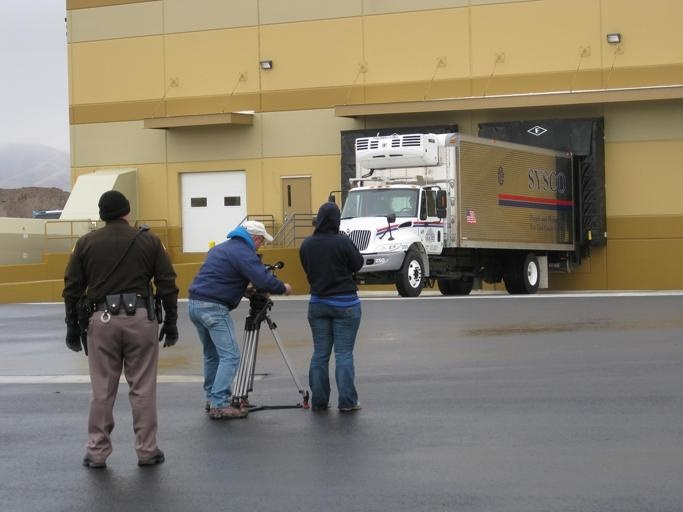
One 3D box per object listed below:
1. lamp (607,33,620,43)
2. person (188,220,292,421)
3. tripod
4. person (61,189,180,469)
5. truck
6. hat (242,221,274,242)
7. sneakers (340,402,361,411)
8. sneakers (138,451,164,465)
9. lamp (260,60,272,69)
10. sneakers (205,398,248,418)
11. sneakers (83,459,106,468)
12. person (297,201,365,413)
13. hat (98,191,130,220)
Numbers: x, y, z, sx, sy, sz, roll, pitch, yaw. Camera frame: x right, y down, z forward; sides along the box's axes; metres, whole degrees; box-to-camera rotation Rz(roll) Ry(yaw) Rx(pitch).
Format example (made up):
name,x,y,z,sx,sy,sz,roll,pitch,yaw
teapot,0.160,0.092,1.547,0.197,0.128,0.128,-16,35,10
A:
name,x,y,z,sx,sy,sz,roll,pitch,yaw
lamp,8.530,-6.895,36.872,0.334,0.261,0.292,1,-2,5
person,-1.435,0.805,15.592,1.138,2.551,0.714,0,3,-4
tripod,-1.083,1.432,16.030,1.084,1.696,1.087,0,0,-40
person,-2.534,0.819,13.589,1.284,3.168,0.565,0,3,-15
truck,2.972,-0.983,32.695,7.644,4.118,3.417,2,-1,-44
hat,-1.100,-0.315,15.820,0.427,0.240,0.279,17,17,-18
sneakers,0.150,1.979,15.532,0.326,0.104,0.196,-1,4,-24
sneakers,-2.152,2.309,13.589,0.324,0.178,0.130,-7,6,-26
lamp,-2.597,-6.721,40.771,0.475,0.322,0.329,1,3,13
sneakers,-1.466,1.996,15.444,0.488,0.278,0.218,-2,2,-6
sneakers,-2.822,2.382,13.525,0.239,0.132,0.104,-1,1,24
person,-0.127,0.646,15.774,0.811,2.757,0.746,0,3,0
hat,-2.597,-0.615,13.670,0.308,0.286,0.332,-5,20,21
